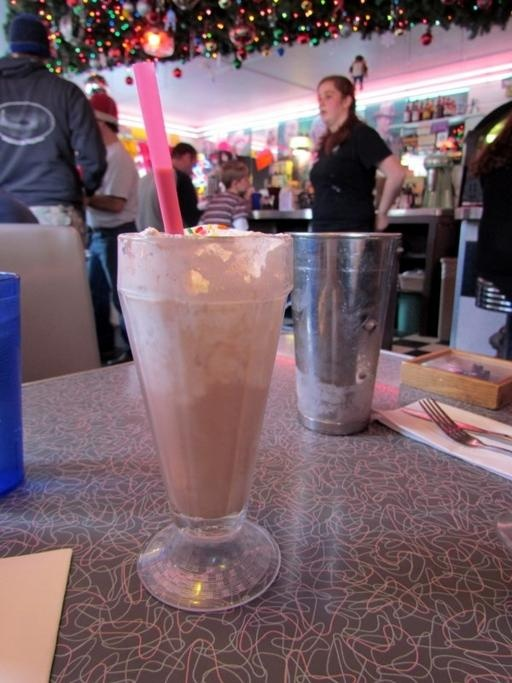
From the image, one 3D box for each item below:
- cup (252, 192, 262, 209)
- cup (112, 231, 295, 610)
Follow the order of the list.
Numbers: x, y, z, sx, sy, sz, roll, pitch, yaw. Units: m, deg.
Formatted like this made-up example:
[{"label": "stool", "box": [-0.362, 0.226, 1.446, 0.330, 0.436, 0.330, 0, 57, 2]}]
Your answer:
[{"label": "cup", "box": [-0.009, -1.757, 6.236, 0.151, 0.251, 0.156, 0, 2, 0]}, {"label": "cup", "box": [-0.030, 0.047, 0.335, 0.110, 0.229, 0.097, -2, 11, -13]}]
